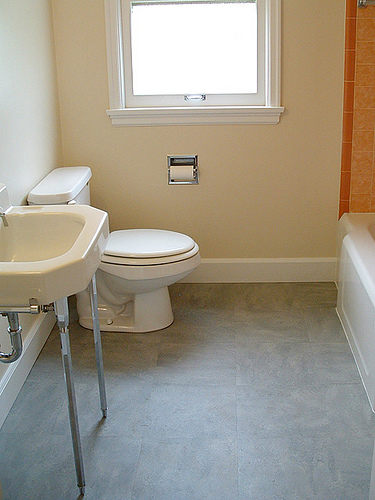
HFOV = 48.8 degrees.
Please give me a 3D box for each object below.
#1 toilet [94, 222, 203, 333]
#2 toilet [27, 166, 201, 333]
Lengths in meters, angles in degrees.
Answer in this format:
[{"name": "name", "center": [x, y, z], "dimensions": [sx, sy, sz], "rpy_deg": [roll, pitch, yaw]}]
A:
[{"name": "toilet", "center": [-0.195, 0.071, 1.854], "dimensions": [0.529, 0.463, 0.344], "rpy_deg": [-1, 36, -3]}, {"name": "toilet", "center": [-0.260, 0.023, 1.775], "dimensions": [0.629, 0.612, 0.409], "rpy_deg": [-1, 23, -6]}]
